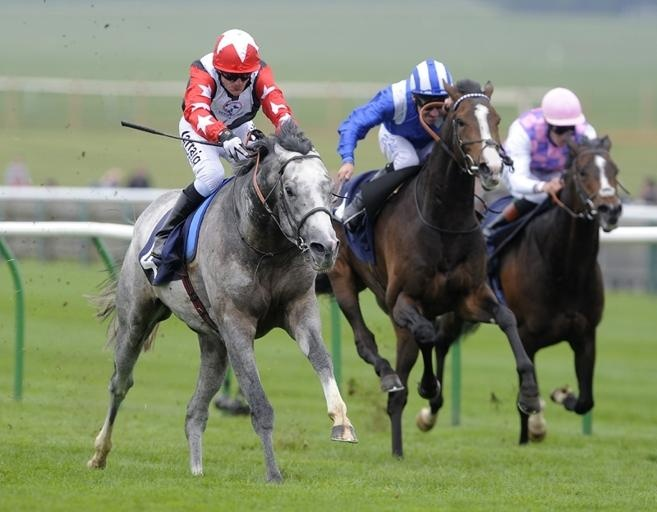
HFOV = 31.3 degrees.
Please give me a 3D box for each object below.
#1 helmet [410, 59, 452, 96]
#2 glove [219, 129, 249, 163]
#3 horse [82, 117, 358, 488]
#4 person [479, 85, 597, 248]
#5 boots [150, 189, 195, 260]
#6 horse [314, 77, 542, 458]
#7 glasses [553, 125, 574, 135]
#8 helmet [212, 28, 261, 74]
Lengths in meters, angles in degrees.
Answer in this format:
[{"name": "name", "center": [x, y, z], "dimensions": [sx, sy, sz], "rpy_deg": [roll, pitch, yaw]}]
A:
[{"name": "helmet", "center": [0.741, -1.321, 8.630], "dimensions": [0.336, 0.242, 0.479], "rpy_deg": [-1, 14, 4]}, {"name": "glove", "center": [-0.642, -0.745, 7.953], "dimensions": [0.104, 0.109, 0.367], "rpy_deg": [-21, 22, -7]}, {"name": "horse", "center": [-0.668, 0.320, 7.958], "dimensions": [1.958, 2.474, 0.650], "rpy_deg": [7, 11, 32]}, {"name": "person", "center": [1.652, -0.621, 9.056], "dimensions": [0.727, 1.270, 1.427], "rpy_deg": [-5, 12, -11]}, {"name": "boots", "center": [-1.095, -0.204, 8.224], "dimensions": [0.138, 0.501, 0.180], "rpy_deg": [38, -2, -14]}, {"name": "horse", "center": [0.550, 0.025, 9.269], "dimensions": [0.883, 2.328, 4.162], "rpy_deg": [0, -5, -17]}, {"name": "glasses", "center": [1.776, -0.953, 8.889], "dimensions": [0.168, 0.069, 0.070], "rpy_deg": [3, 10, 9]}, {"name": "helmet", "center": [-0.651, -1.469, 8.256], "dimensions": [0.343, 0.230, 0.456], "rpy_deg": [1, 33, -14]}]
